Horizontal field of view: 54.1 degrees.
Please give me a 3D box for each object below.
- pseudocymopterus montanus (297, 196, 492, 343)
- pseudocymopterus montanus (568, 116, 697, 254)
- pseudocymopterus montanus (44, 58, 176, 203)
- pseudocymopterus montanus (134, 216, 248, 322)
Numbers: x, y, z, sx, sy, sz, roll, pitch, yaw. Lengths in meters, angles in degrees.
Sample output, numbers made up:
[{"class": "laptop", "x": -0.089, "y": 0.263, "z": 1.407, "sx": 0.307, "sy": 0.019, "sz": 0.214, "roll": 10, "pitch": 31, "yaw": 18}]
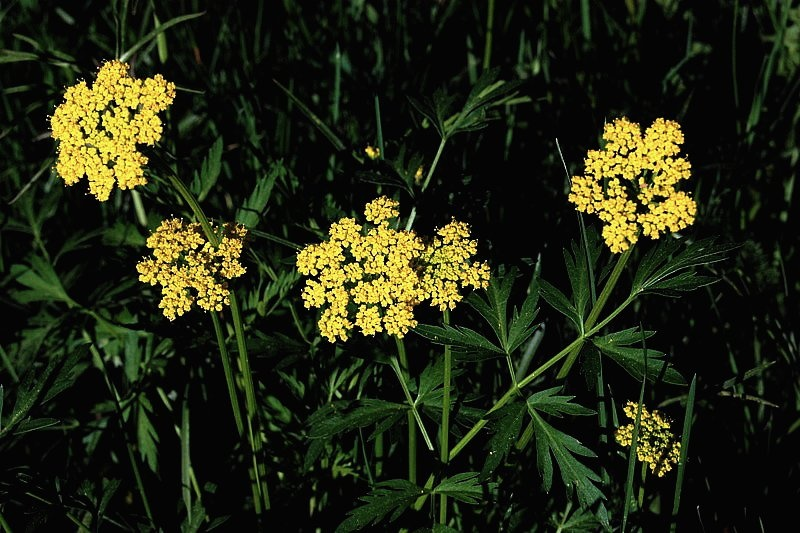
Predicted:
[{"class": "pseudocymopterus montanus", "x": -0.018, "y": 0.019, "z": 2.378, "sx": 0.572, "sy": 0.386, "sz": 0.251, "roll": -20, "pitch": 34, "yaw": -9}, {"class": "pseudocymopterus montanus", "x": 0.691, "y": -0.247, "z": 2.356, "sx": 0.352, "sy": 0.345, "sz": 0.305, "roll": -5, "pitch": 34, "yaw": 12}, {"class": "pseudocymopterus montanus", "x": -0.857, "y": -0.413, "z": 2.327, "sx": 0.337, "sy": 0.320, "sz": 0.270, "roll": -3, "pitch": 35, "yaw": 15}, {"class": "pseudocymopterus montanus", "x": -0.618, "y": -0.016, "z": 2.385, "sx": 0.321, "sy": 0.251, "sz": 0.223, "roll": -12, "pitch": 34, "yaw": 3}]
